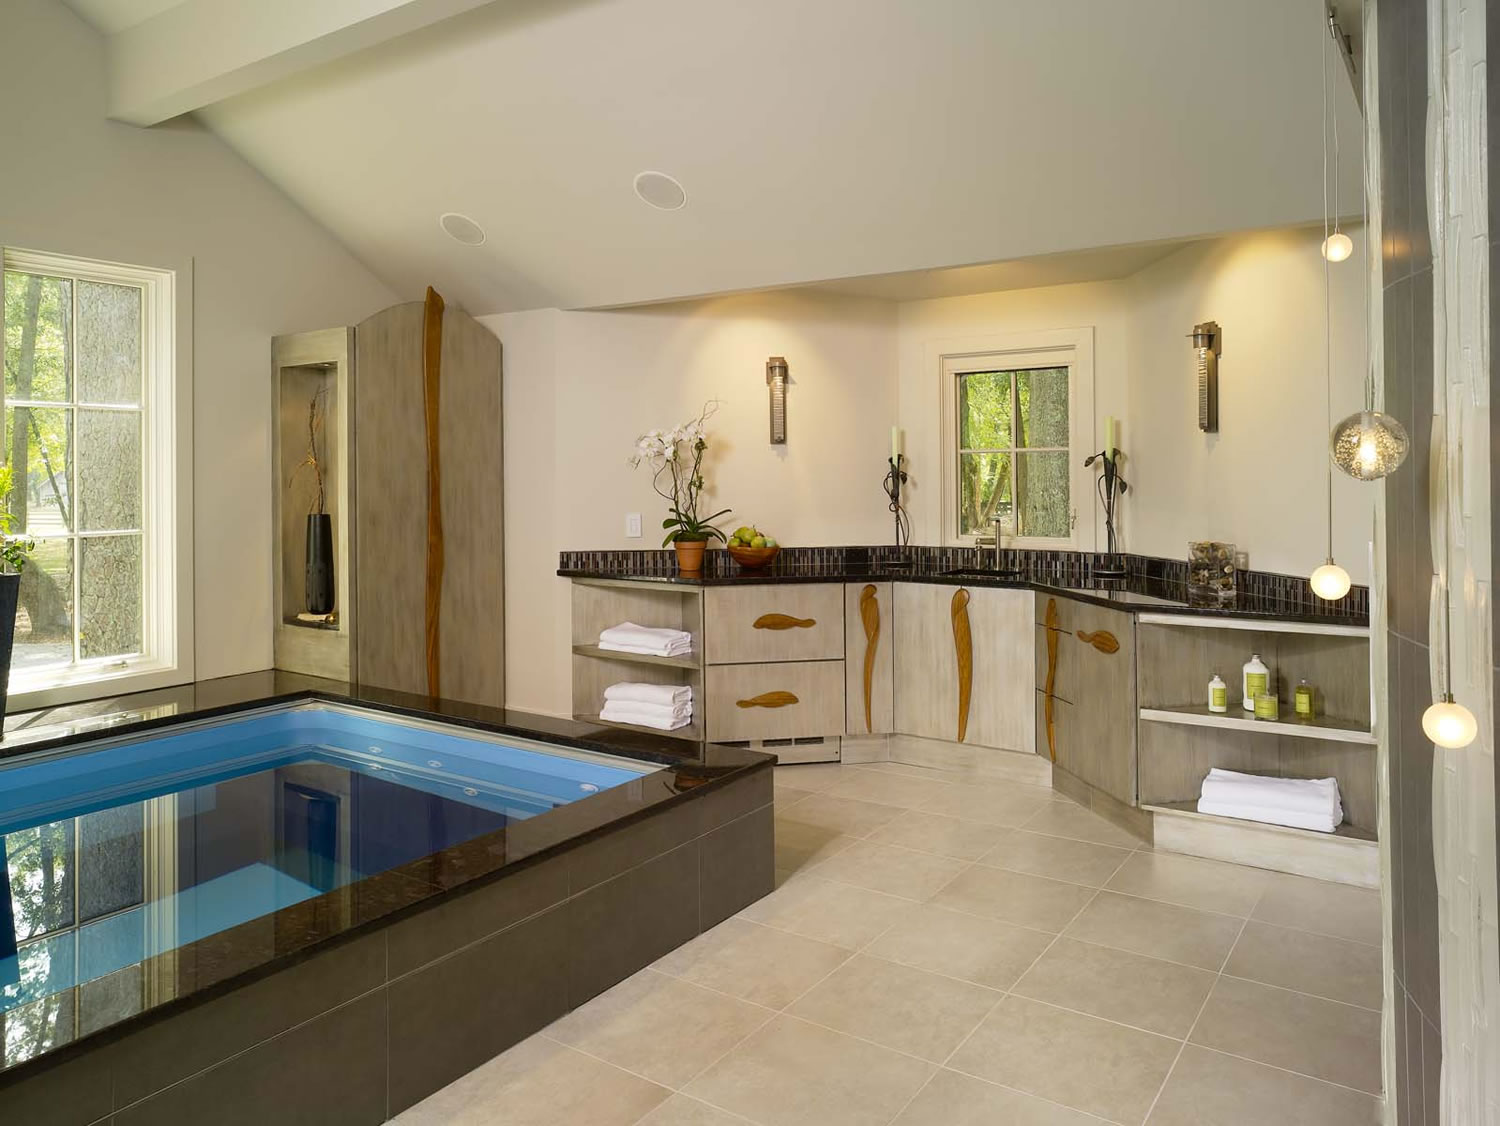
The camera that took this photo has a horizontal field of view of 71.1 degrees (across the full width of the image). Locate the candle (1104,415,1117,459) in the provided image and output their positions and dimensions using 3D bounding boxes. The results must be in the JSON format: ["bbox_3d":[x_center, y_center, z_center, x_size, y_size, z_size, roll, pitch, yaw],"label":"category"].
[{"bbox_3d":[1.852,-0.649,5.337,0.068,0.185,0.242,2,8,18],"label":"candle"}]

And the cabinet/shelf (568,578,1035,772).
[{"bbox_3d":[0.299,0.540,5.336,2.177,0.940,0.566,0,7,4],"label":"cabinet/shelf"}]

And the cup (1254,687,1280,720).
[{"bbox_3d":[1.988,0.537,4.054,0.091,0.120,0.096,0,3,0],"label":"cup"}]

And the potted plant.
[{"bbox_3d":[-0.367,-0.386,5.464,0.492,0.845,0.473,1,8,8],"label":"potted plant"}]

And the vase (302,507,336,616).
[{"bbox_3d":[-2.186,0.004,5.370,0.134,0.513,0.219,-3,8,-22],"label":"vase"}]

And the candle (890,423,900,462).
[{"bbox_3d":[0.823,-0.665,5.809,0.064,0.185,0.161,0,8,1],"label":"candle"}]
